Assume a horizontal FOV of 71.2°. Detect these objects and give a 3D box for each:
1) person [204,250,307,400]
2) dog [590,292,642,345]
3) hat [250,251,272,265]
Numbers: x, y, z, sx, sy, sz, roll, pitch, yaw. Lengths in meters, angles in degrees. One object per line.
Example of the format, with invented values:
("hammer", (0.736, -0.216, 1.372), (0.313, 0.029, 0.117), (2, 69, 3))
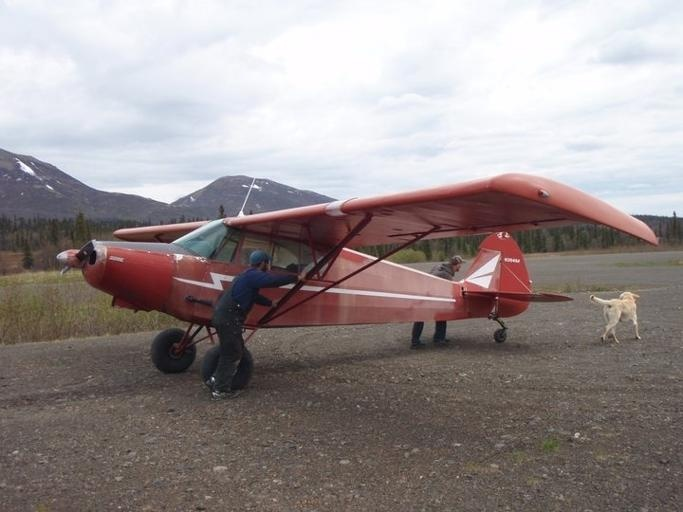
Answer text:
("person", (-1.317, 0.885, 6.434), (1.025, 1.888, 0.643), (-2, 6, -31))
("dog", (5.261, 1.158, 9.185), (2.093, 0.994, 0.496), (8, -11, -41))
("hat", (-1.130, 0.035, 6.620), (0.277, 0.122, 0.190), (-18, 29, -36))
